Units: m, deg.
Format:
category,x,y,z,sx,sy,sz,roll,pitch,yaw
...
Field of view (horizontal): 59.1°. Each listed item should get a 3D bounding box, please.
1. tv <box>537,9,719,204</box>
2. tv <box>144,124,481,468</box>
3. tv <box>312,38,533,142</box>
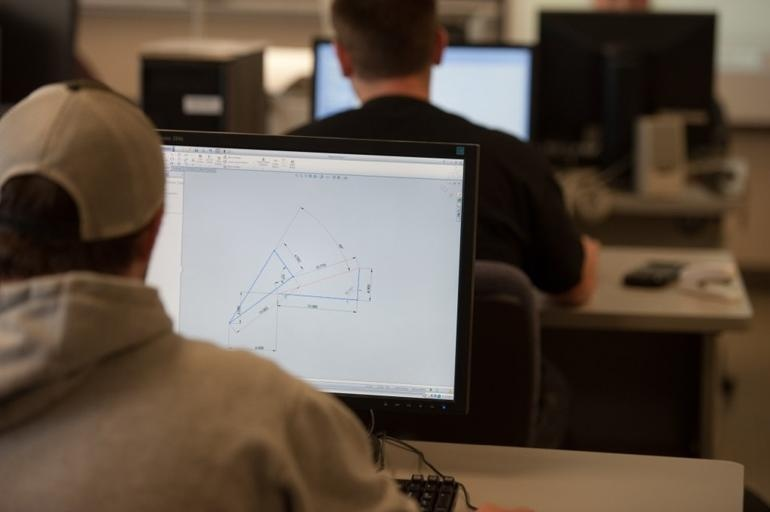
category,x,y,z,sx,sy,sz,roll,pitch,yaw
tv,0.856,-0.532,2.342,0.584,0.704,0.226,1,8,5
tv,-0.110,0.040,1.009,0.476,0.543,0.170,2,2,7
tv,0.101,-0.484,1.932,0.468,0.338,0.024,1,6,4
